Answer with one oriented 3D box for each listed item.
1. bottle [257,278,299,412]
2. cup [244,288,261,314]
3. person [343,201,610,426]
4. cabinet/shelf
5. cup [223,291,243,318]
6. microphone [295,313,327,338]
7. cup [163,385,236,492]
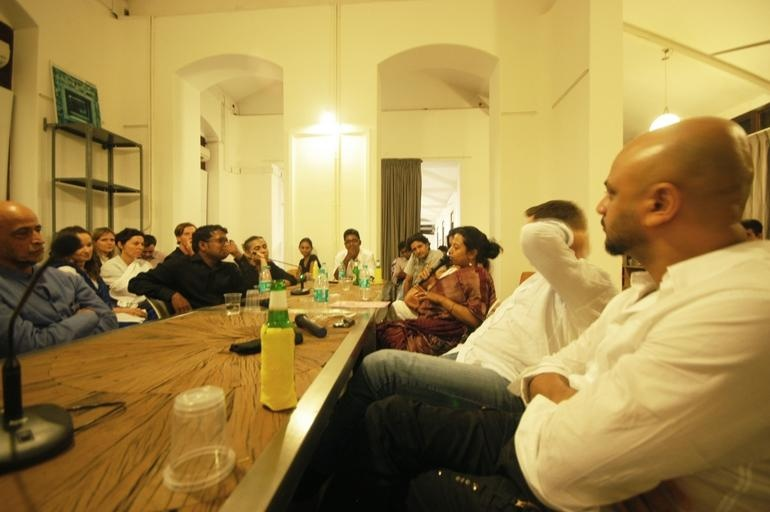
[{"bbox_3d":[-0.496,0.405,2.503,0.173,0.580,0.186,-1,3,0],"label":"bottle"},{"bbox_3d":[-0.888,0.311,3.645,0.137,0.196,0.138,-1,-4,0],"label":"cup"},{"bbox_3d":[0.669,0.411,3.858,1.307,1.973,1.154,13,-5,7],"label":"person"},{"bbox_3d":[-2.893,-0.644,5.372,0.495,1.470,1.561,1,1,0],"label":"cabinet/shelf"},{"bbox_3d":[-0.992,0.316,3.524,0.128,0.130,0.129,-1,-4,0],"label":"cup"},{"bbox_3d":[-0.423,0.397,3.088,0.082,0.083,0.237,9,2,-35],"label":"microphone"},{"bbox_3d":[-0.759,0.752,2.369,0.358,0.345,0.334,0,6,0],"label":"cup"}]
